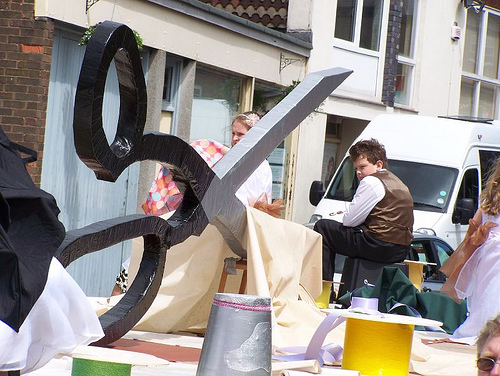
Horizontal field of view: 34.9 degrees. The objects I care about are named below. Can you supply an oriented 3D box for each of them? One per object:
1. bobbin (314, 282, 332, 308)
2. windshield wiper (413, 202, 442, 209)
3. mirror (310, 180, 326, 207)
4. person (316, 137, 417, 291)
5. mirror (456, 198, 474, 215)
[{"bbox_3d":[0.721,1.066,7.854,0.192,0.327,0.212,-1,-6,13],"label":"bobbin"},{"bbox_3d":[2.635,0.270,11.905,0.417,0.079,0.098,9,3,20],"label":"windshield wiper"},{"bbox_3d":[1.087,0.077,13.137,0.239,0.350,0.327,1,2,8],"label":"mirror"},{"bbox_3d":[1.259,0.458,9.049,1.126,1.963,0.801,6,1,17],"label":"person"},{"bbox_3d":[3.171,0.277,11.867,0.275,0.223,0.360,8,3,30],"label":"mirror"}]
